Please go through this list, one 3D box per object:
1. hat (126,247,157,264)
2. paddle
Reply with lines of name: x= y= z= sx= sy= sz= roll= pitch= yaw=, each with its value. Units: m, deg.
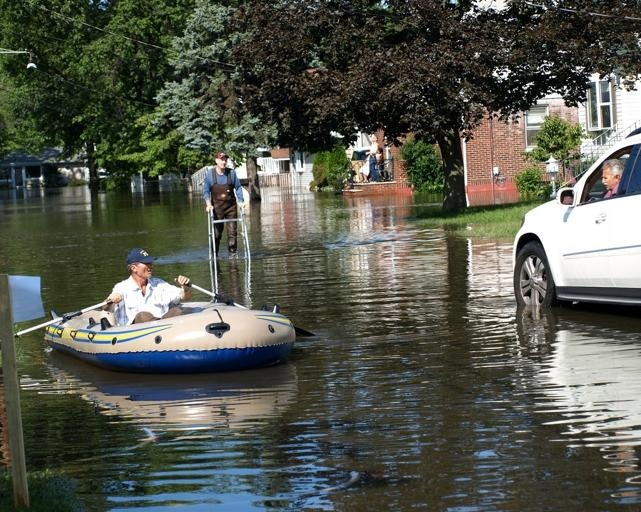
hat: x=-1.982 y=-0.004 z=11.619 sx=0.312 sy=0.145 sz=0.208 roll=-1 pitch=8 yaw=3
paddle: x=-0.903 y=0.641 z=13.418 sx=1.414 sy=0.076 sz=0.161 roll=25 pitch=-34 yaw=9
